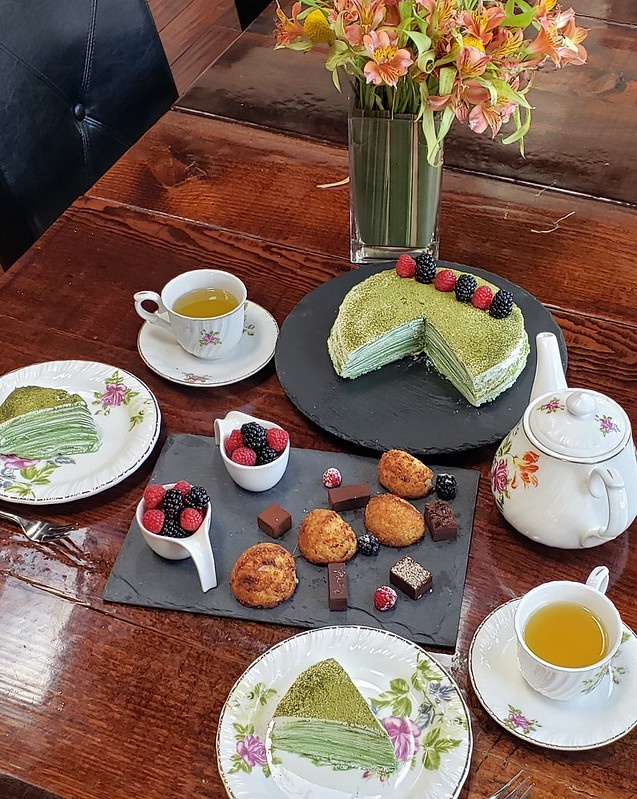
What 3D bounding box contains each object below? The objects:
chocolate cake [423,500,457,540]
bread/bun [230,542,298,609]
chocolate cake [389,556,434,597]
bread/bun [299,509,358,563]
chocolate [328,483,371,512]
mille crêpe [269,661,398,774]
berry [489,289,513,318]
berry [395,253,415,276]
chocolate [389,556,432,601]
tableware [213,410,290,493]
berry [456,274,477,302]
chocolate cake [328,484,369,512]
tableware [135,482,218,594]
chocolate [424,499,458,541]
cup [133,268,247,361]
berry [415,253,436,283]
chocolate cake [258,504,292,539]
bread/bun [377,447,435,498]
[{"bbox_3d":[0.180,0.178,0.988,0.050,0.035,0.066,-1,37,-9],"label":"chocolate cake"},{"bbox_3d":[-0.077,0.239,0.933,0.099,0.028,0.087,19,64,25],"label":"bread/bun"},{"bbox_3d":[0.130,0.245,0.929,0.045,0.036,0.052,-38,52,-25],"label":"chocolate cake"},{"bbox_3d":[0.011,0.204,0.978,0.081,0.055,0.072,18,52,25],"label":"bread/bun"},{"bbox_3d":[0.047,0.149,1.028,0.075,0.033,0.037,-10,43,-9],"label":"chocolate"},{"bbox_3d":[0.016,0.356,0.791,0.136,0.154,0.045,-18,16,13],"label":"mille crêpe"},{"bbox_3d":[0.349,-0.183,1.266,0.038,0.054,0.026,5,12,9],"label":"berry"},{"bbox_3d":[0.178,-0.278,1.373,0.038,0.037,0.046,-6,0,-20],"label":"berry"},{"bbox_3d":[0.125,0.243,0.923,0.047,0.031,0.064,-34,52,-27],"label":"chocolate"},{"bbox_3d":[-0.144,0.085,1.088,0.090,0.059,0.139,14,27,-28],"label":"tableware"},{"bbox_3d":[0.290,-0.224,1.337,0.040,0.054,0.044,5,77,13],"label":"berry"},{"bbox_3d":[0.047,0.151,1.028,0.075,0.034,0.037,-10,42,-9],"label":"chocolate cake"},{"bbox_3d":[-0.196,0.210,0.975,0.106,0.069,0.186,-11,32,-31],"label":"tableware"},{"bbox_3d":[0.181,0.177,0.990,0.051,0.036,0.067,-1,37,-9],"label":"chocolate"},{"bbox_3d":[-0.243,-0.163,1.296,0.215,0.130,0.135,-1,53,-2],"label":"cup"},{"bbox_3d":[0.217,-0.267,1.359,0.039,0.057,0.045,-12,20,-6],"label":"berry"},{"bbox_3d":[-0.061,0.180,1.028,0.047,0.031,0.048,36,58,23],"label":"chocolate cake"},{"bbox_3d":[0.131,0.103,1.075,0.064,0.049,0.086,-33,56,-26],"label":"bread/bun"}]
